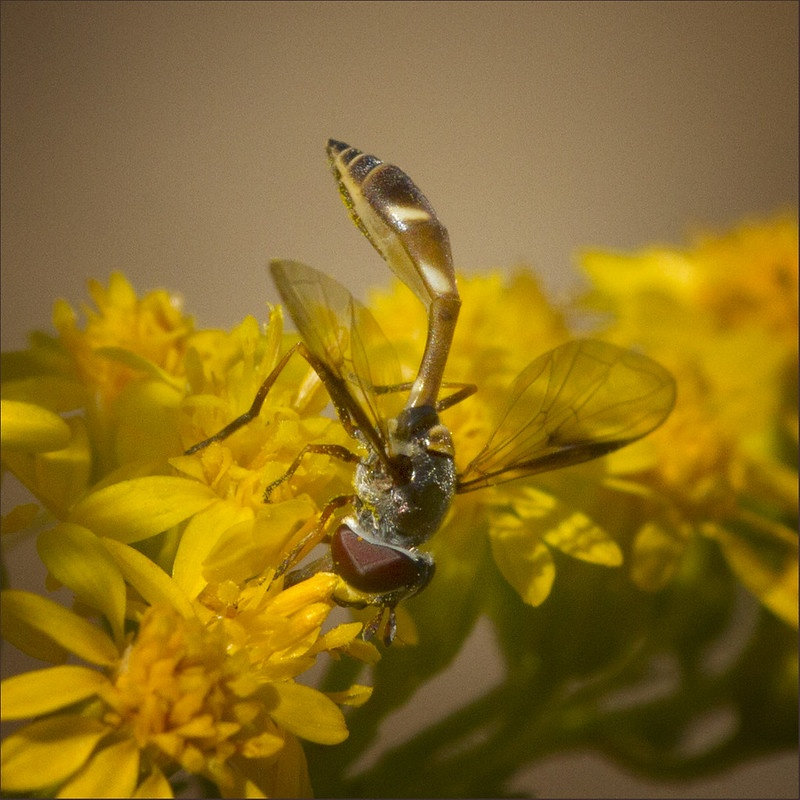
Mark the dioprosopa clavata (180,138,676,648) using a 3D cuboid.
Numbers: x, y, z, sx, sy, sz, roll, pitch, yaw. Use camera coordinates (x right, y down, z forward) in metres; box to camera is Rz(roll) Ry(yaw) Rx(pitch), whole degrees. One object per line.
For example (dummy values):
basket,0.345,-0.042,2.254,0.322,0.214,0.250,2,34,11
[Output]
dioprosopa clavata,0.004,-0.025,0.832,0.350,0.352,0.141,-21,6,-16
